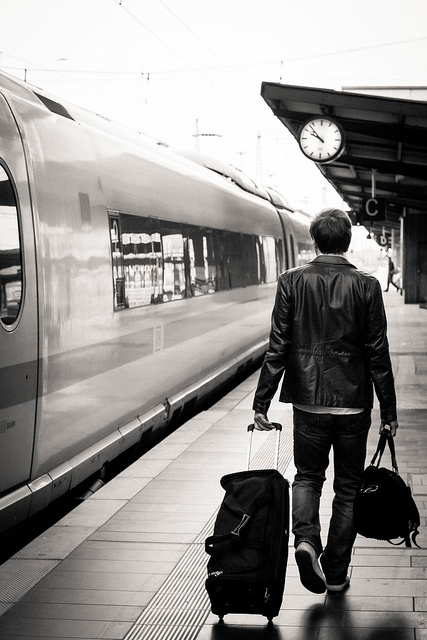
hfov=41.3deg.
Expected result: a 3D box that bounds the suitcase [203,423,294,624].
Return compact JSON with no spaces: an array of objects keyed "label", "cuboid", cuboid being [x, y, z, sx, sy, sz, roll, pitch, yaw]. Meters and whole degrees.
[{"label":"suitcase","cuboid":[0.124,0.655,2.026,0.244,0.209,0.764,-12,44,26]}]
